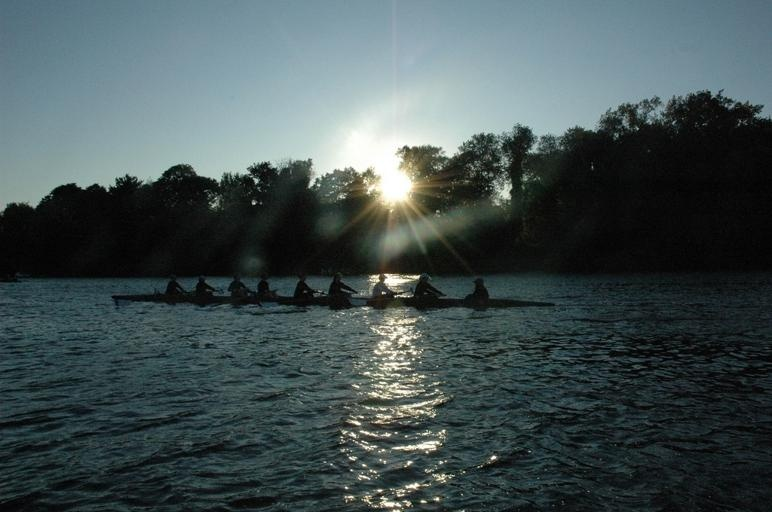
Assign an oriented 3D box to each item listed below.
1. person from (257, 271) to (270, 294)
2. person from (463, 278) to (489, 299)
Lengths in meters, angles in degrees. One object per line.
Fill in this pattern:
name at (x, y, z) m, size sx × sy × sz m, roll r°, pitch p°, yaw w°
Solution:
person at (-7.478, 1.703, 35.674) m, size 0.697 × 1.442 × 1.244 m, roll -6°, pitch 9°, yaw -26°
person at (5.168, 1.836, 32.185) m, size 1.078 × 1.240 × 1.195 m, roll -4°, pitch 8°, yaw -18°
